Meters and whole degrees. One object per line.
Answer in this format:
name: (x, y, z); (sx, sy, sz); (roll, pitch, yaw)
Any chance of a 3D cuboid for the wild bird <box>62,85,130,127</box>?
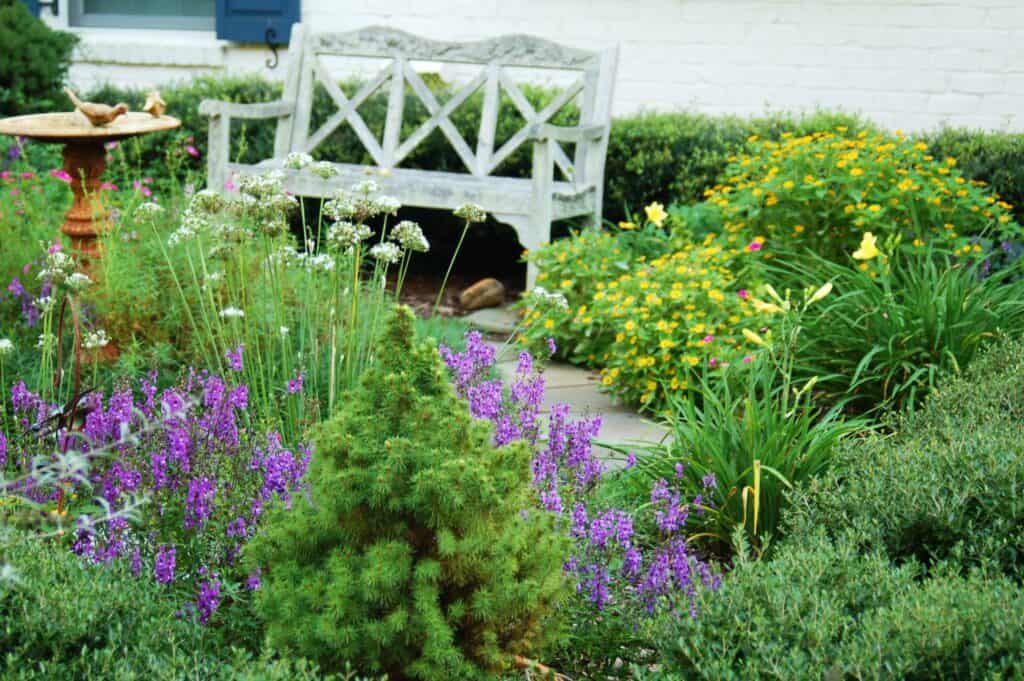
wild bird: (-2.419, -1.330, 5.684); (0.296, 0.162, 0.632); (3, 10, -24)
